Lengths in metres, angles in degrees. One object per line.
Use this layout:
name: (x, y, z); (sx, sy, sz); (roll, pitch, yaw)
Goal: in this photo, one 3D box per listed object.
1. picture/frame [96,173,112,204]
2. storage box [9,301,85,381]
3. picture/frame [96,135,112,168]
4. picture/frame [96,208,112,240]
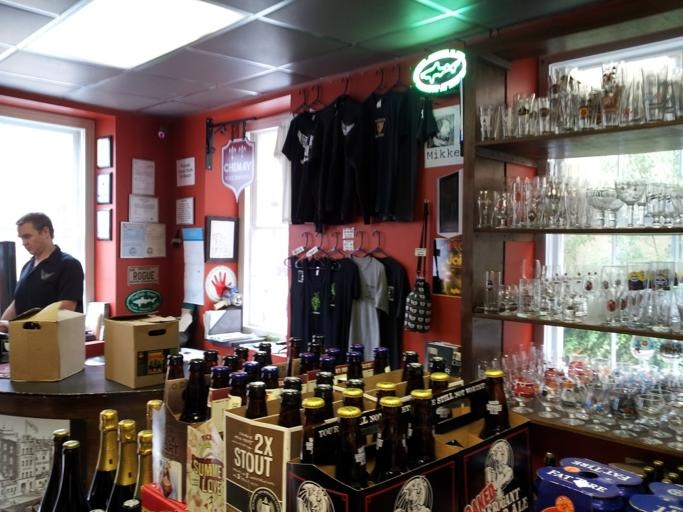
picture/frame: (-2.524, -0.719, 5.917); (0.045, 0.331, 0.327); (-1, 4, -39)
storage box: (-1.677, 0.544, 3.400); (0.324, 0.531, 0.518); (0, -3, -7)
picture/frame: (-2.518, -1.098, 5.890); (0.048, 0.366, 0.361); (-1, 3, -42)
picture/frame: (-2.537, -0.330, 5.931); (0.035, 0.339, 0.336); (-1, 2, -42)
